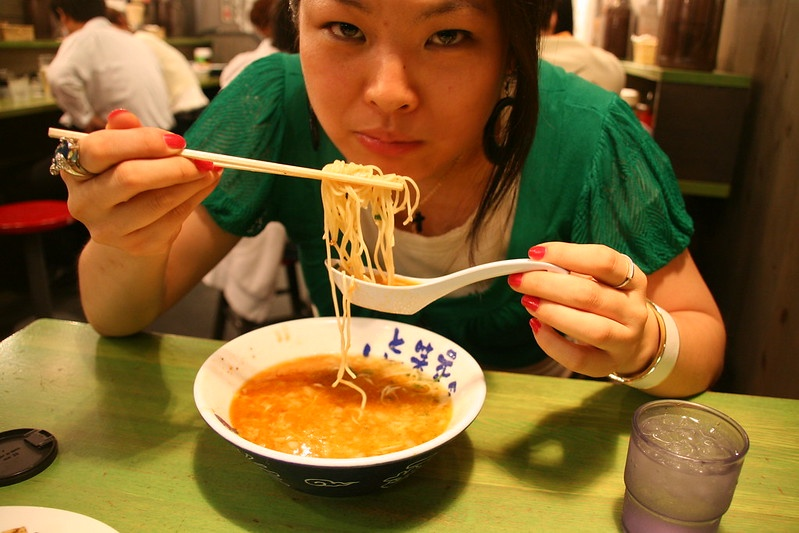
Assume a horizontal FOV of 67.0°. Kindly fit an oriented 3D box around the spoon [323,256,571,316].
[{"bbox_3d":[0.198,0.068,1.828,0.846,0.138,0.247,-8,1,19],"label":"spoon"}]
